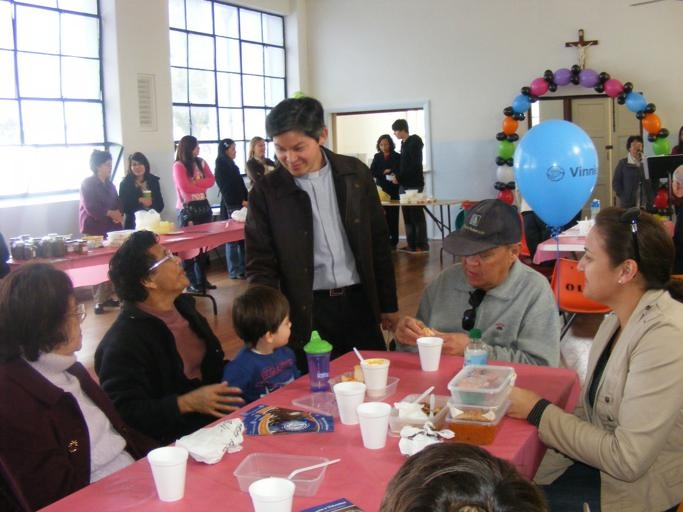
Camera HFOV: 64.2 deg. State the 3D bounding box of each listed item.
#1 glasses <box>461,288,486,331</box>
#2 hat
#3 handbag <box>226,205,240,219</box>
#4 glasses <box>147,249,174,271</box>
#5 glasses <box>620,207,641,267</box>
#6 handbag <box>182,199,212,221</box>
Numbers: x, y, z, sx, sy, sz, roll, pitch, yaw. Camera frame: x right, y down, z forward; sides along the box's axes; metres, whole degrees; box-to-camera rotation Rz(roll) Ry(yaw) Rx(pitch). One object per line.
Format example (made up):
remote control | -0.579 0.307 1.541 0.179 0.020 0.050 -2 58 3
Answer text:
glasses | 0.579 0.230 2.393 0.073 0.236 0.026 16 -5 31
hat | 0.619 -0.130 2.345 0.317 0.171 0.221 -7 19 -19
handbag | -1.427 -0.592 7.158 0.182 0.220 0.171 -3 15 -14
glasses | -0.771 0.023 2.300 0.085 0.037 0.056 -35 30 -1
glasses | 0.924 -0.066 1.722 0.048 0.140 0.100 -1 0 42
handbag | -1.773 -0.496 6.718 0.244 0.332 0.341 -10 -6 44
